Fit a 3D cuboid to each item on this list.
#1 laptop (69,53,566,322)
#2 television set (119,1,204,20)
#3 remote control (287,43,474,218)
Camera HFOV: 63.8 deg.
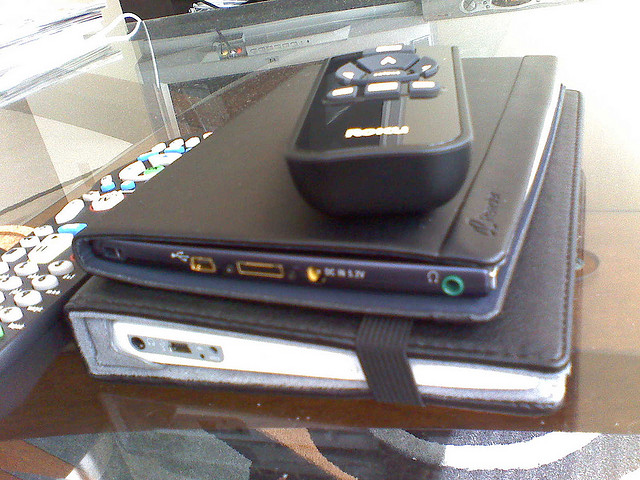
[{"bbox_3d":[-0.003,-0.008,0.480,0.278,0.043,0.335,4,9,6],"label":"laptop"},{"bbox_3d":[-0.775,-1.112,2.471,0.468,0.096,0.125,15,41,27],"label":"television set"},{"bbox_3d":[0.058,-0.102,0.408,0.127,0.061,0.213,-2,39,10],"label":"remote control"}]
